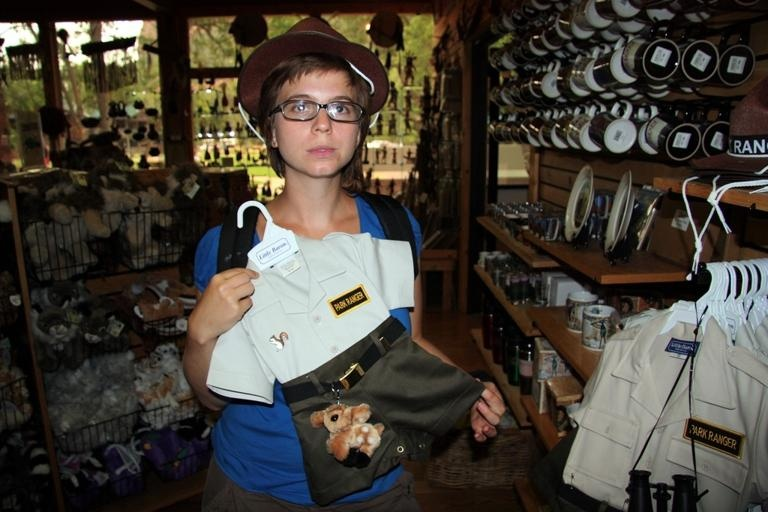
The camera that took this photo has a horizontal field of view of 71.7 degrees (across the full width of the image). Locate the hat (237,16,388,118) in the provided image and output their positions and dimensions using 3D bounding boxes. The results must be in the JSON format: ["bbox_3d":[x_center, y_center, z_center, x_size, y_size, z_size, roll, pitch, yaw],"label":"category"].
[{"bbox_3d":[-0.286,-0.741,2.066,0.437,0.244,0.470,-7,-31,9],"label":"hat"}]

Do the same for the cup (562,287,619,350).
[{"bbox_3d":[1.023,0.307,2.669,0.156,0.211,0.297,4,16,-2],"label":"cup"}]

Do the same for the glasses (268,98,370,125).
[{"bbox_3d":[-0.258,-0.541,1.978,0.339,0.087,0.107,-2,12,-7],"label":"glasses"}]

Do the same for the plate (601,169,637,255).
[{"bbox_3d":[1.047,-0.194,2.360,0.057,0.307,0.302,5,-3,8],"label":"plate"}]

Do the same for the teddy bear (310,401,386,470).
[{"bbox_3d":[-0.128,0.596,1.790,0.230,0.188,0.104,31,-12,-8],"label":"teddy bear"}]
